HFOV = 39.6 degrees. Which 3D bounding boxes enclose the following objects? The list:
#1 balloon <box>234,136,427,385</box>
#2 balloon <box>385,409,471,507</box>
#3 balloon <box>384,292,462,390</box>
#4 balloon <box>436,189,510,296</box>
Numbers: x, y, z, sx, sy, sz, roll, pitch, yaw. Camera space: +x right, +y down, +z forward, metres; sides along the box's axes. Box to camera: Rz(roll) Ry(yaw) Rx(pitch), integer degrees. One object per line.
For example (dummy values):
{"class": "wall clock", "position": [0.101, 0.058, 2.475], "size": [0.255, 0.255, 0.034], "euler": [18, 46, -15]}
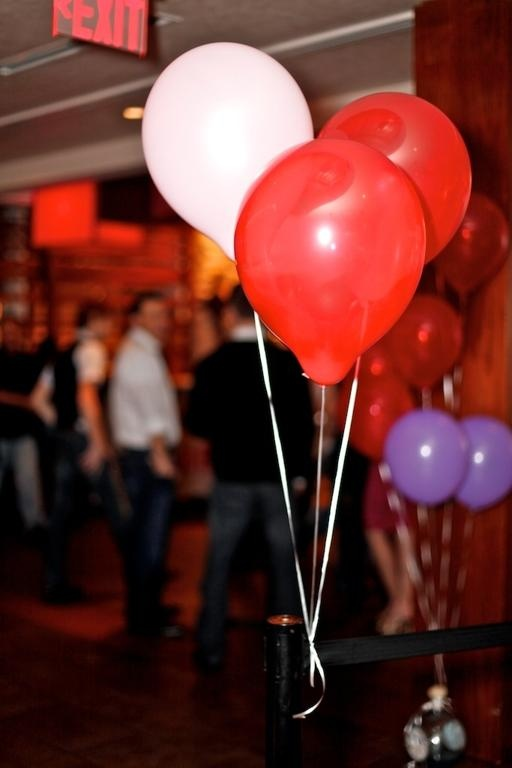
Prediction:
{"class": "balloon", "position": [0.108, -0.161, 1.111], "size": [0.313, 0.420, 0.323], "euler": [2, 4, 3]}
{"class": "balloon", "position": [0.415, 0.189, 1.719], "size": [0.202, 0.252, 0.134], "euler": [3, 8, 0]}
{"class": "balloon", "position": [0.427, -0.092, 1.831], "size": [0.213, 0.267, 0.214], "euler": [7, -6, -35]}
{"class": "balloon", "position": [0.496, -0.367, 1.846], "size": [0.205, 0.275, 0.225], "euler": [8, 14, 8]}
